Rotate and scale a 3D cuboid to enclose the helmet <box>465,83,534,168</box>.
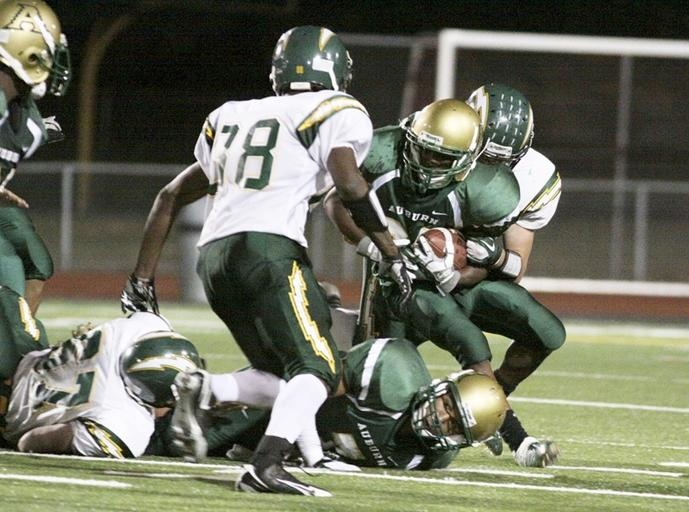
[{"bbox_3d":[0.832,-0.677,5.239,0.435,0.377,0.450,9,19,-2],"label":"helmet"}]

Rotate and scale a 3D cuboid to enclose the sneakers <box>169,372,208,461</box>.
[{"bbox_3d":[-0.585,0.616,3.881,0.156,0.343,0.180,-6,-8,4],"label":"sneakers"}]

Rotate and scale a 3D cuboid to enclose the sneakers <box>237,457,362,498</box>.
[{"bbox_3d":[-0.163,0.843,3.802,0.462,0.150,0.135,2,-1,-15],"label":"sneakers"}]

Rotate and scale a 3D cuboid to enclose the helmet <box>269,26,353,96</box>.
[{"bbox_3d":[-0.200,-0.901,4.524,0.412,0.299,0.455,5,13,3],"label":"helmet"}]

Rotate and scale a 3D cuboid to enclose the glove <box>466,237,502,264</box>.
[{"bbox_3d":[0.673,-0.025,4.725,0.191,0.135,0.081,0,6,-31],"label":"glove"}]

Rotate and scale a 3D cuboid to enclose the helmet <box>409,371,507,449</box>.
[{"bbox_3d":[0.513,0.629,4.178,0.350,0.262,0.403,-2,3,34],"label":"helmet"}]

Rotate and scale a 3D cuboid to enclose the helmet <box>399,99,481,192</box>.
[{"bbox_3d":[0.460,-0.583,4.604,0.365,0.395,0.305,20,-41,2],"label":"helmet"}]

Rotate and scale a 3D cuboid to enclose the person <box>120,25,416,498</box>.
[{"bbox_3d":[-0.299,-0.075,4.094,1.060,1.902,1.028,2,5,-14],"label":"person"}]

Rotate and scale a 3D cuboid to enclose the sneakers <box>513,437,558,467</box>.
[{"bbox_3d":[0.846,0.868,4.404,0.126,0.072,0.195,1,0,-37],"label":"sneakers"}]

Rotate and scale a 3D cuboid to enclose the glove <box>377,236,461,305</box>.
[{"bbox_3d":[0.381,0.016,4.528,0.287,0.331,0.167,35,-4,19],"label":"glove"}]
